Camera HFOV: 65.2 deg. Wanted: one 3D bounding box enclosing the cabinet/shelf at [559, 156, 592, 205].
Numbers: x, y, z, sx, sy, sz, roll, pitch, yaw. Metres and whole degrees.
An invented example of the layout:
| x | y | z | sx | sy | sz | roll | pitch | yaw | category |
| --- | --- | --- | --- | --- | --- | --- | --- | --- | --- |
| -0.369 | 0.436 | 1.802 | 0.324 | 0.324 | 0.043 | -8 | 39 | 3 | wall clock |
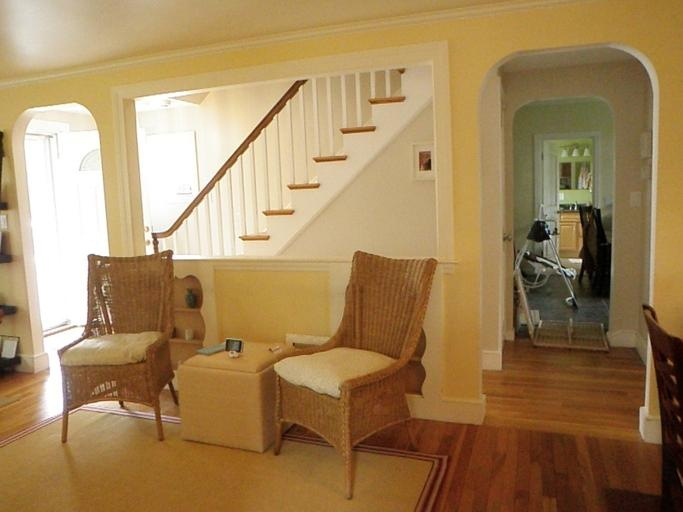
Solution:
| x | y | z | sx | sy | sz | roll | pitch | yaw | category |
| --- | --- | --- | --- | --- | --- | --- | --- | --- | --- |
| 4.898 | -1.492 | 11.419 | 0.630 | 1.063 | 0.376 | 3 | 10 | 19 | cabinet/shelf |
